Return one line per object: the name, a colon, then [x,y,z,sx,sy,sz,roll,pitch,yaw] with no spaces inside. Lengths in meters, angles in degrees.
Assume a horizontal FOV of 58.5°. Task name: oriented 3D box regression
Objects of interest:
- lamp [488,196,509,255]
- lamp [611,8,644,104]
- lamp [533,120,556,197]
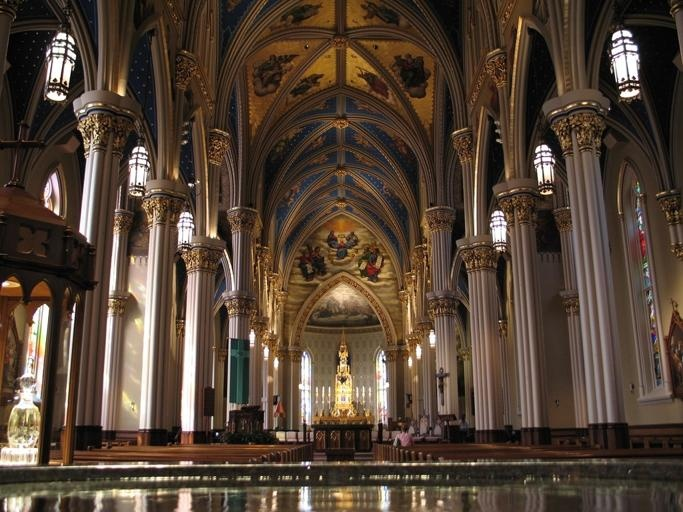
lamp: [3.607,-0.726,13.992,0.346,1.233,1.049,-3,-15,14]
lamp: [4.142,-3.119,8.995,0.365,1.738,0.797,-7,-15,26]
lamp: [3.803,-1.679,11.437,0.343,1.053,0.506,-5,-14,19]
